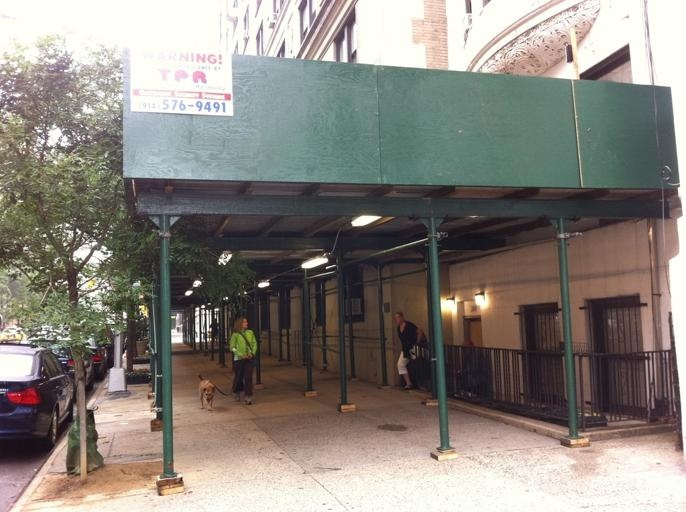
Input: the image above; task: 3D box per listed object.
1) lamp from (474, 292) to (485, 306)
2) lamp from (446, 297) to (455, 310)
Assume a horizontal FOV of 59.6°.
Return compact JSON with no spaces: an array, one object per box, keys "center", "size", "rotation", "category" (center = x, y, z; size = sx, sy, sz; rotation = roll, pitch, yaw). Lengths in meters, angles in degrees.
[{"center":[3.912,1.226,17.077],"size":[0.080,0.339,0.338],"rotation":[-1,3,-35],"category":"lamp"},{"center":[3.340,1.484,18.641],"size":[0.115,0.454,0.481],"rotation":[-1,-5,-24],"category":"lamp"}]
